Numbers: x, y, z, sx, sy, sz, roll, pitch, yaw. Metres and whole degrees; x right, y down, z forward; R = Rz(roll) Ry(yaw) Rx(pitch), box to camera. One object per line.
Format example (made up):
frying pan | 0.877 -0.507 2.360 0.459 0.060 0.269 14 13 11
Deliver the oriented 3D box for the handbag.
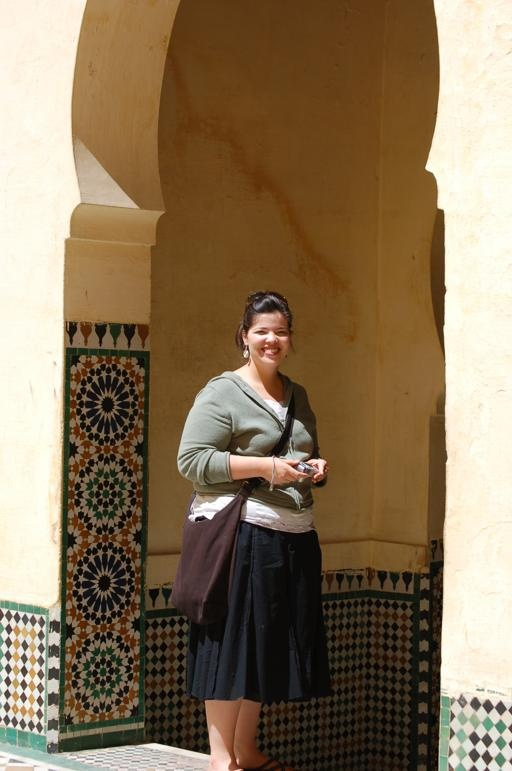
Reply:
handbag | -0.176 0.618 4.955 0.140 0.451 0.341 5 -10 -34
